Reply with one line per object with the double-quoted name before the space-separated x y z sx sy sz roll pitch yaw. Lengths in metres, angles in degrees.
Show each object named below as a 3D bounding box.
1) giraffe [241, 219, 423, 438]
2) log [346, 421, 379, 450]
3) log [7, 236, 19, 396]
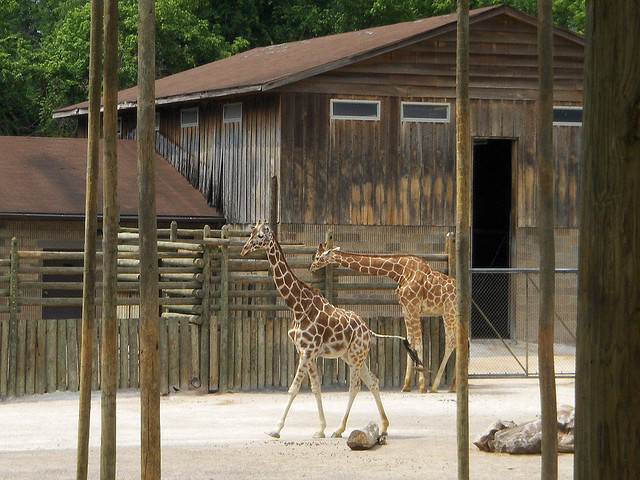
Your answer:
"giraffe" -0.021 1.660 27.406 2.723 3.546 1.793 2 9 11
"log" 0.804 3.505 26.238 0.402 0.332 0.728 10 15 41
"log" -6.123 1.527 29.387 0.210 2.998 0.771 -1 9 -7
